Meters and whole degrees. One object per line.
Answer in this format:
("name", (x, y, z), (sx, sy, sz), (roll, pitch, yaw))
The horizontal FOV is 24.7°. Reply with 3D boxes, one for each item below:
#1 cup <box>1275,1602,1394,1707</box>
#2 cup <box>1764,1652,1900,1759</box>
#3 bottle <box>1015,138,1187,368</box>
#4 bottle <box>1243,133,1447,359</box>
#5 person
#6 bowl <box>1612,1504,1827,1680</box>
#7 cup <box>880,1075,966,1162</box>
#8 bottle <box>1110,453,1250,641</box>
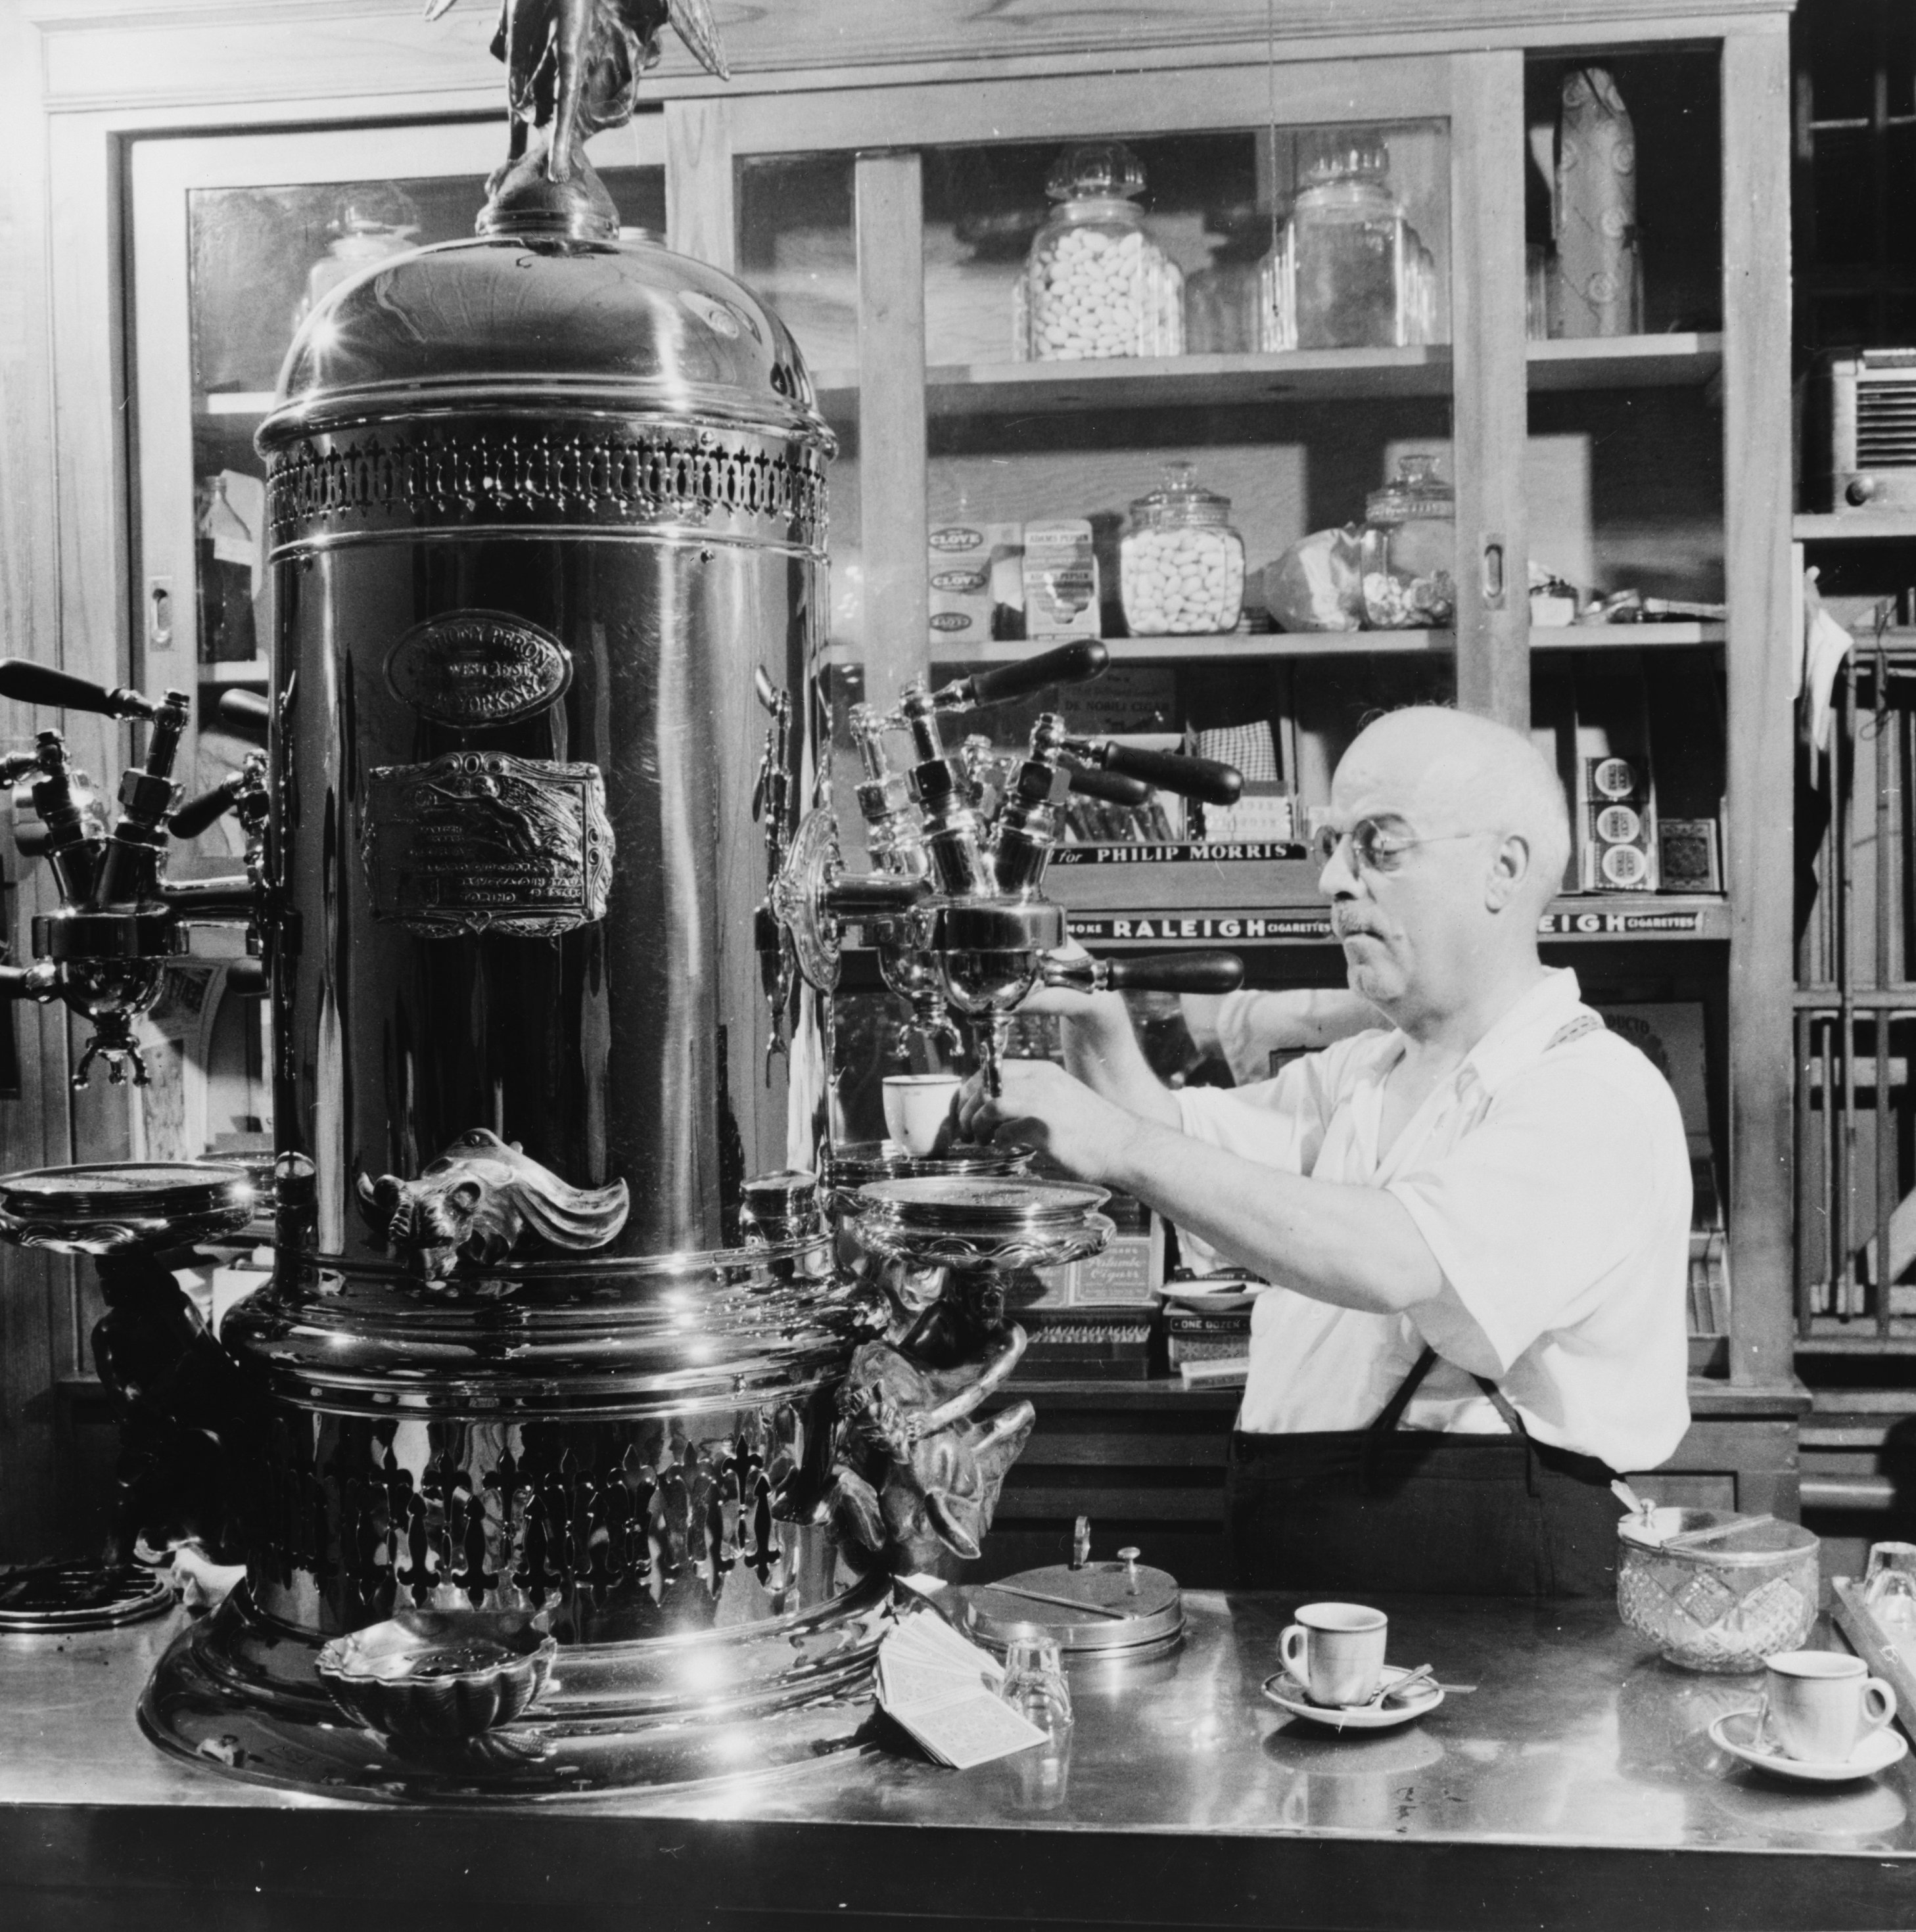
("cup", (0.248, 0.453, 2.889), (0.066, 0.049, 0.047), (0, 0, -1))
("cup", (0.558, 0.477, 2.798), (0.071, 0.058, 0.056), (1, -8, -2))
("bottle", (0.141, -0.722, 4.416), (0.191, 0.341, 0.185), (-1, 3, 0))
("bottle", (0.381, -0.710, 4.289), (0.193, 0.215, 0.198), (2, 12, 13))
("person", (0.373, 0.151, 3.649), (0.464, 0.763, 1.052), (0, -4, 9))
("bowl", (0.521, 0.443, 3.026), (0.143, 0.110, 0.177), (2, 5, -6))
("cup", (-0.030, 0.107, 3.047), (0.052, 0.048, 0.057), (1, 5, 0))
("bottle", (0.229, -0.436, 4.460), (0.149, 0.226, 0.147), (-1, 4, 0))
